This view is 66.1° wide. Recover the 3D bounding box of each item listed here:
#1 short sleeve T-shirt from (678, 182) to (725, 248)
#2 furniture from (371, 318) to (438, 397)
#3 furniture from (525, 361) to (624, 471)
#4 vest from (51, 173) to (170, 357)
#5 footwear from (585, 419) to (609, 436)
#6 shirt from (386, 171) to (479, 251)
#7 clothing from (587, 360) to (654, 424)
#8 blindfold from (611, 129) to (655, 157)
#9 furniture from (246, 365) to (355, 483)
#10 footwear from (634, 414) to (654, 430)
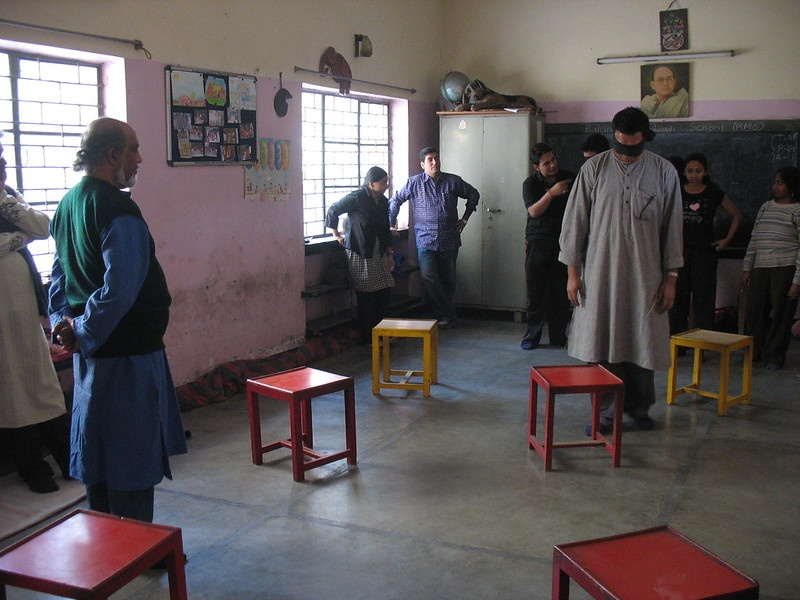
[{"bbox_3d":[2.990,-0.844,6.077,0.411,0.636,0.257,2,12,11],"label":"short sleeve T-shirt"},{"bbox_3d":[0.022,0.490,5.471,0.585,0.657,0.618,0,2,9],"label":"furniture"},{"bbox_3d":[1.187,0.699,4.143,0.610,0.694,0.631,-1,6,-3],"label":"furniture"},{"bbox_3d":[-1.362,-0.146,2.744,0.529,0.795,0.331,3,13,15],"label":"vest"},{"bbox_3d":[1.400,0.913,4.364,0.176,0.082,0.073,1,3,-7],"label":"footwear"},{"bbox_3d":[0.422,-1.098,7.449,1.063,0.934,0.340,0,4,1],"label":"shirt"},{"bbox_3d":[1.462,0.650,4.506,0.423,0.440,0.744,-5,-17,3],"label":"clothing"},{"bbox_3d":[1.578,-1.051,4.123,0.165,0.168,0.401,11,17,43],"label":"blindfold"},{"bbox_3d":[-0.637,0.691,4.104,0.651,0.731,0.644,-6,9,-43],"label":"furniture"},{"bbox_3d":[1.796,0.898,4.567,0.156,0.116,0.084,11,15,27],"label":"footwear"}]
